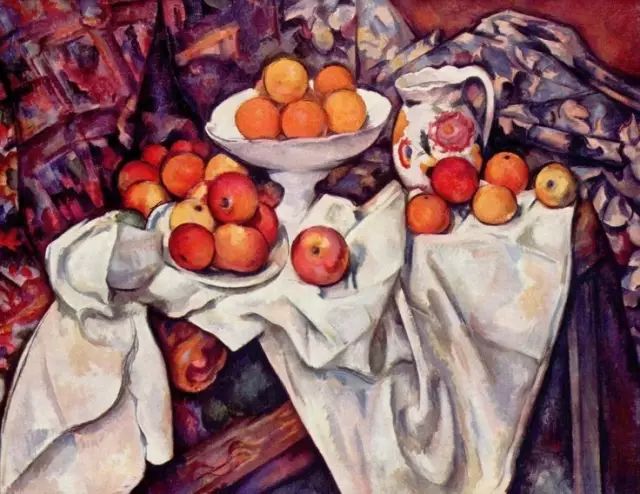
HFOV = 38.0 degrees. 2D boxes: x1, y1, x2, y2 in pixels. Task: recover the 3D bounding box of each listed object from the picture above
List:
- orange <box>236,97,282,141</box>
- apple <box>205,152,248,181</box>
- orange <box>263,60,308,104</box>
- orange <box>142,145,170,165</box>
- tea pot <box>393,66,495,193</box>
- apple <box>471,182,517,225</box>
[{"bbox_3d":[-0.203,-0.408,3.023,0.119,0.136,0.072,-25,-1,6],"label":"orange"},{"bbox_3d":[-0.326,-0.248,3.082,0.093,0.066,0.087,23,3,1],"label":"apple"},{"bbox_3d":[-0.114,-0.532,3.047,0.110,0.155,0.068,-1,2,5],"label":"orange"},{"bbox_3d":[-0.553,-0.300,3.122,0.077,0.082,0.066,13,3,-35],"label":"orange"},{"bbox_3d":[0.382,-0.471,3.287,0.350,0.469,0.298,-19,19,-15],"label":"tea pot"},{"bbox_3d":[0.584,-0.135,3.089,0.114,0.134,0.069,-26,1,7],"label":"apple"}]
